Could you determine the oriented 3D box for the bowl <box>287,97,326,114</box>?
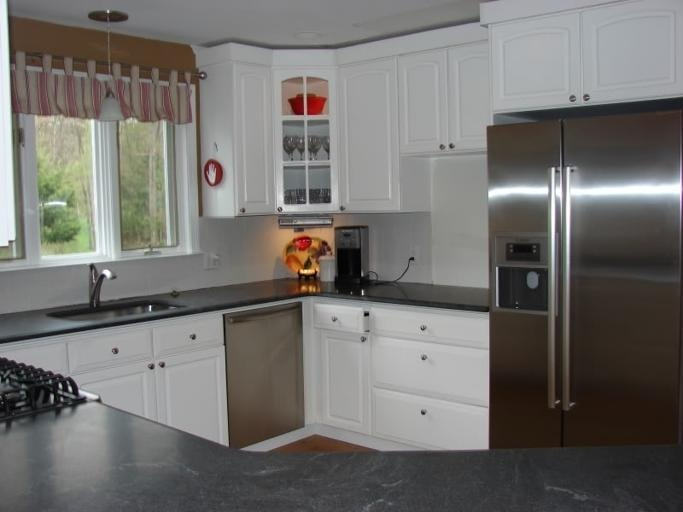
[{"bbox_3d":[-0.248,-1.123,4.129,0.177,0.076,0.178,1,2,0],"label":"bowl"}]

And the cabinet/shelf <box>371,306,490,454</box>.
[{"bbox_3d":[0.505,0.901,3.712,0.863,0.921,0.651,12,-25,-13],"label":"cabinet/shelf"}]

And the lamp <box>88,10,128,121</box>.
[{"bbox_3d":[-1.482,-1.165,3.504,0.226,0.651,0.542,-3,7,-28],"label":"lamp"}]

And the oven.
[{"bbox_3d":[-0.422,0.865,3.940,0.702,0.903,0.674,-5,-18,3],"label":"oven"}]

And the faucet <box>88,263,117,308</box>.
[{"bbox_3d":[-1.499,0.194,3.438,0.156,0.269,0.472,-3,7,-23],"label":"faucet"}]

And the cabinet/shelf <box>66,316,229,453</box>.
[{"bbox_3d":[-1.192,0.692,3.463,0.929,0.945,0.517,-7,28,-24],"label":"cabinet/shelf"}]

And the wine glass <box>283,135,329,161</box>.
[{"bbox_3d":[-0.261,-0.812,4.147,0.347,0.173,0.060,0,6,0],"label":"wine glass"}]

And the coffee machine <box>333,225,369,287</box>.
[{"bbox_3d":[0.092,-0.017,4.356,0.242,0.450,0.251,2,12,23],"label":"coffee machine"}]

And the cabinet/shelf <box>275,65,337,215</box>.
[{"bbox_3d":[-0.200,-0.835,4.191,0.497,1.089,0.340,1,4,25],"label":"cabinet/shelf"}]

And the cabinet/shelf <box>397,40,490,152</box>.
[{"bbox_3d":[0.782,-1.055,3.779,0.755,0.729,0.356,4,14,34],"label":"cabinet/shelf"}]
